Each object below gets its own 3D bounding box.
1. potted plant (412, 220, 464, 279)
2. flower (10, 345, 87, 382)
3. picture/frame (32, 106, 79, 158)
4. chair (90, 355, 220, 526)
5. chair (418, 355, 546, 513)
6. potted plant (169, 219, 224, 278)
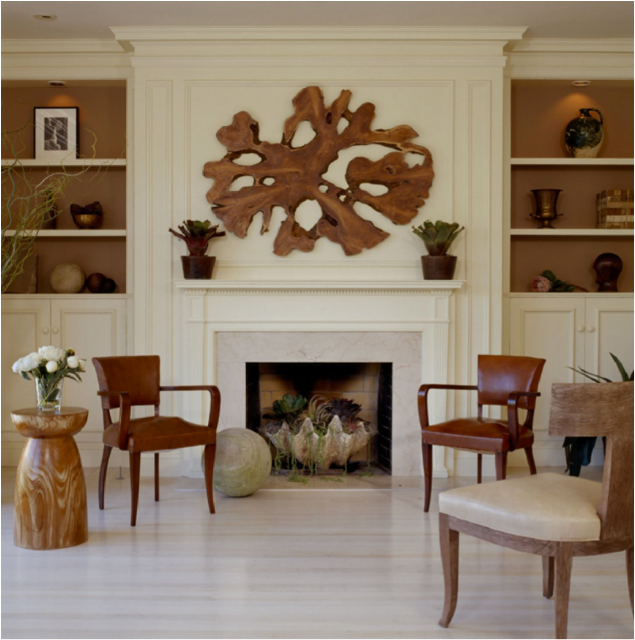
[{"bbox_3d":[0.779,-0.441,4.676,0.459,0.370,0.392,1,-3,-3],"label":"potted plant"},{"bbox_3d":[-1.344,0.219,3.482,0.313,0.176,0.284,-1,3,-20],"label":"flower"},{"bbox_3d":[-1.938,-1.376,5.167,0.311,0.414,0.175,-1,3,-13],"label":"picture/frame"},{"bbox_3d":[-0.993,0.649,4.003,0.692,0.790,0.662,2,0,33],"label":"chair"},{"bbox_3d":[0.969,0.628,3.965,0.725,0.727,0.655,-4,4,-22],"label":"chair"},{"bbox_3d":[-0.755,-0.465,4.734,0.468,0.351,0.398,1,-5,-5],"label":"potted plant"}]
